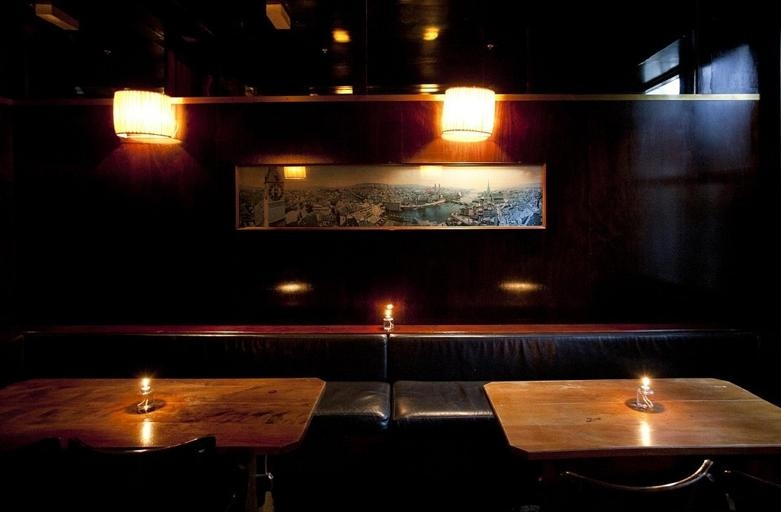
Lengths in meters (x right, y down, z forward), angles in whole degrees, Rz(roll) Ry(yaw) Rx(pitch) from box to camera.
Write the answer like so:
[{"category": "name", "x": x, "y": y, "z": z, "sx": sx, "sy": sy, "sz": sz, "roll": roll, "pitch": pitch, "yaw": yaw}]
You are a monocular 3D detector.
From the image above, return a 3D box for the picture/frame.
[{"category": "picture/frame", "x": 0.031, "y": -0.603, "z": 6.391, "sx": 3.239, "sy": 0.047, "sz": 0.645, "roll": -1, "pitch": -78, "yaw": -4}]

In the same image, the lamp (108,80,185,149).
[{"category": "lamp", "x": -2.502, "y": -1.419, "z": 6.254, "sx": 0.599, "sy": 0.541, "sz": 0.370, "roll": -7, "pitch": -78, "yaw": -47}]

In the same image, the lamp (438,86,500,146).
[{"category": "lamp", "x": 0.747, "y": -1.353, "z": 6.148, "sx": 0.551, "sy": 0.546, "sz": 0.387, "roll": 0, "pitch": -95, "yaw": 31}]
